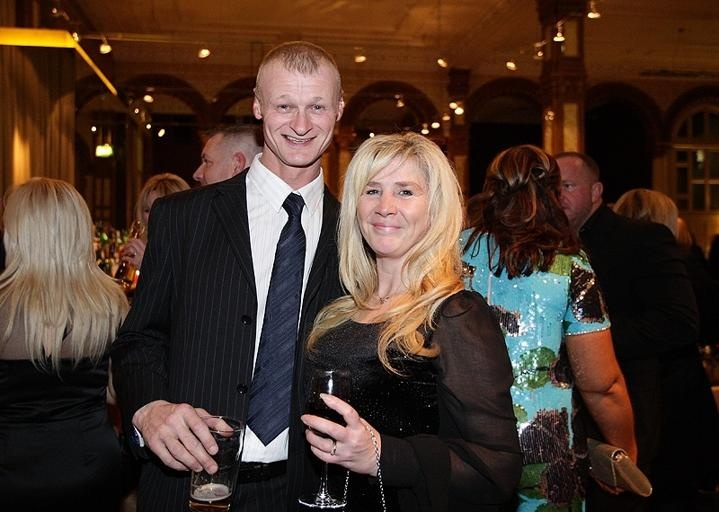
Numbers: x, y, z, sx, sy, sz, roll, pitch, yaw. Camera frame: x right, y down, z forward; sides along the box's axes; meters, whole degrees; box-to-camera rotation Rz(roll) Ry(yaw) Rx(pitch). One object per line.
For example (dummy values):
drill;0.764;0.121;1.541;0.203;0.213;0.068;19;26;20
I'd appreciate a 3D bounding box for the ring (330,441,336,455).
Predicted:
ring;-0.095;0.712;2.443;0.015;0.040;0.041;5;34;-22

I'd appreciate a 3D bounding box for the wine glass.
wine glass;-0.137;0.749;2.639;0.200;0.620;0.377;0;-2;-5
